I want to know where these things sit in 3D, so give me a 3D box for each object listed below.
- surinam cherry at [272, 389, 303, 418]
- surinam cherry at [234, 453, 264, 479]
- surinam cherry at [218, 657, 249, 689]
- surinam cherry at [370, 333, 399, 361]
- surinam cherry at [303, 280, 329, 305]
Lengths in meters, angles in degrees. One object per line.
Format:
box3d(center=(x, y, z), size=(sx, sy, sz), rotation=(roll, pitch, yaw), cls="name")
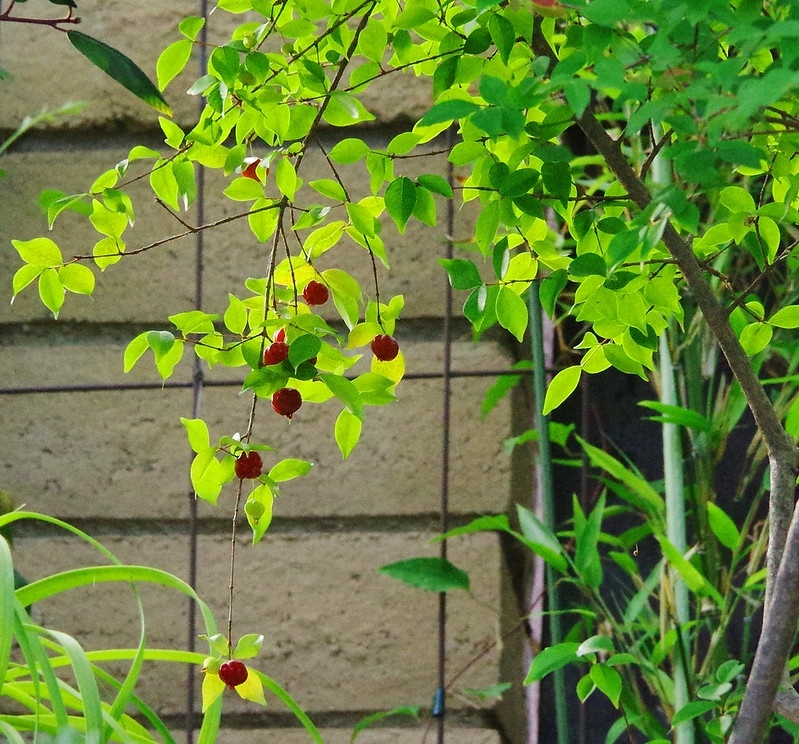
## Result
box3d(center=(-0.151, 0.043, 2.845), size=(0.039, 0.038, 0.039), rotation=(-6, -14, -22), cls="surinam cherry")
box3d(center=(-0.194, 0.117, 2.852), size=(0.046, 0.036, 0.035), rotation=(2, 4, -29), cls="surinam cherry")
box3d(center=(-0.216, 0.390, 2.862), size=(0.039, 0.036, 0.038), rotation=(0, -30, -2), cls="surinam cherry")
box3d(center=(-0.018, -0.033, 2.851), size=(0.036, 0.036, 0.035), rotation=(4, 3, 0), cls="surinam cherry")
box3d(center=(-0.108, -0.109, 2.877), size=(0.029, 0.031, 0.020), rotation=(10, 13, 8), cls="surinam cherry")
